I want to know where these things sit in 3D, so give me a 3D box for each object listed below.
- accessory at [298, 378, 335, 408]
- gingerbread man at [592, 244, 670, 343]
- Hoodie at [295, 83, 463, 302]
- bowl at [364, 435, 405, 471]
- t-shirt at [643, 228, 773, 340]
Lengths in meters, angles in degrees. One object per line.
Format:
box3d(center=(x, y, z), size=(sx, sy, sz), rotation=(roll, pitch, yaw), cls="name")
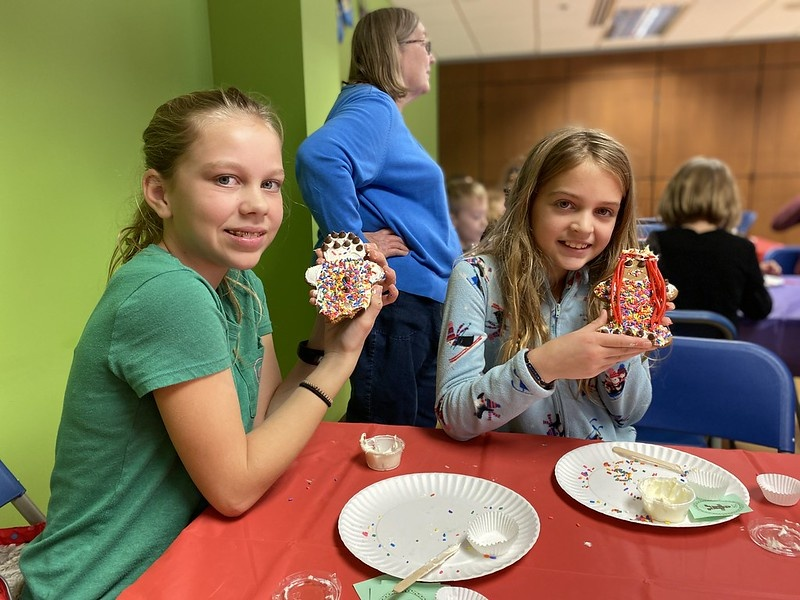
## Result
box3d(center=(-0.206, 0.229, 1.595), size=(0.017, 0.065, 0.062), rotation=(-46, 41, -17), cls="accessory")
box3d(center=(0.615, -0.002, 1.705), size=(0.169, 0.248, 0.063), rotation=(4, -16, 11), cls="gingerbread man")
box3d(center=(-0.085, -0.418, 2.861), size=(0.642, 1.115, 1.109), rotation=(0, 1, 10), cls="Hoodie")
box3d(center=(-0.045, 0.387, 1.670), size=(0.070, 0.057, 0.084), rotation=(-1, 1, -4), cls="bowl")
box3d(center=(1.264, -0.068, 2.694), size=(0.369, 0.449, 0.222), rotation=(8, 33, 27), cls="t-shirt")
